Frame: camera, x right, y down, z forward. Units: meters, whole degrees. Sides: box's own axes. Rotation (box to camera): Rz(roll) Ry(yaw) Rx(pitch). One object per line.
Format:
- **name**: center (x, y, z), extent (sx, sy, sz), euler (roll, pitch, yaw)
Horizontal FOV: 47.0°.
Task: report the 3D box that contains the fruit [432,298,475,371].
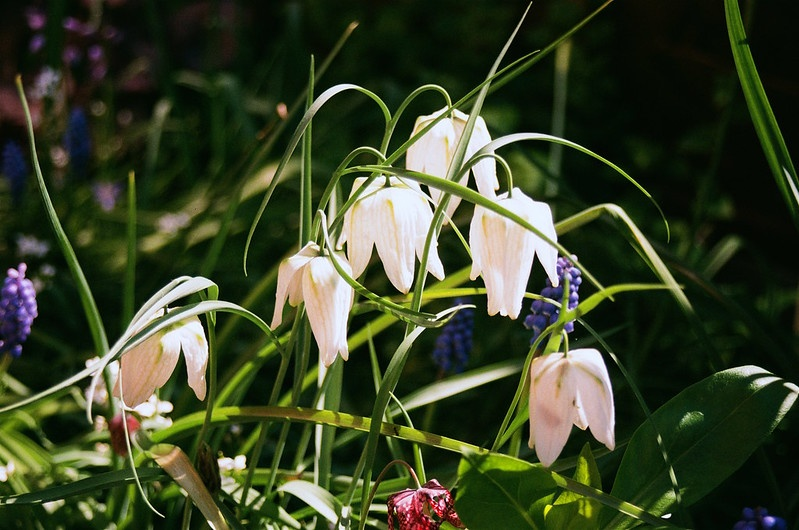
- **fruit**: center (0.141, 0.189, 2.337), extent (0.099, 0.163, 0.187), euler (5, -16, 2)
